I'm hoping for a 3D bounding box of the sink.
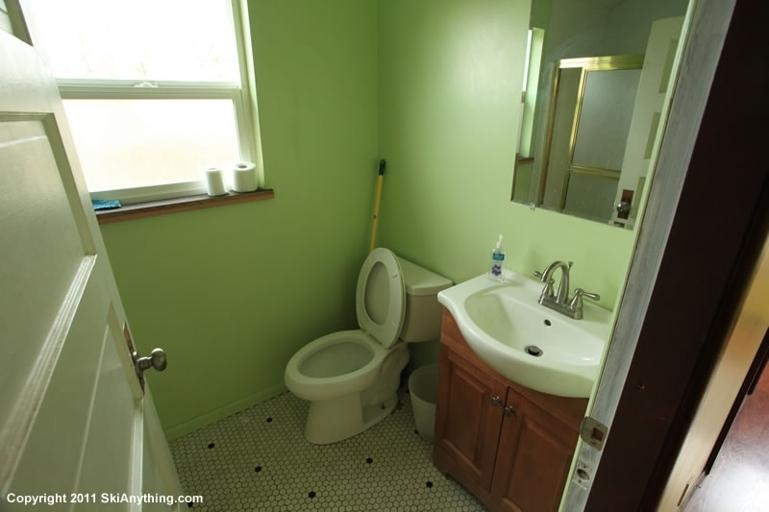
[{"bbox_3d":[0.533,0.283,1.928,0.516,0.168,0.674,-22,32,-38],"label":"sink"}]

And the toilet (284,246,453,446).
[{"bbox_3d":[-0.121,0.417,2.592,0.831,0.864,0.460,-14,28,-26],"label":"toilet"}]

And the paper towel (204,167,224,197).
[{"bbox_3d":[-0.780,-0.338,2.344,0.094,0.126,0.077,22,38,35],"label":"paper towel"}]

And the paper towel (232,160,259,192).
[{"bbox_3d":[-0.660,-0.384,2.447,0.132,0.127,0.130,-13,34,-29],"label":"paper towel"}]
